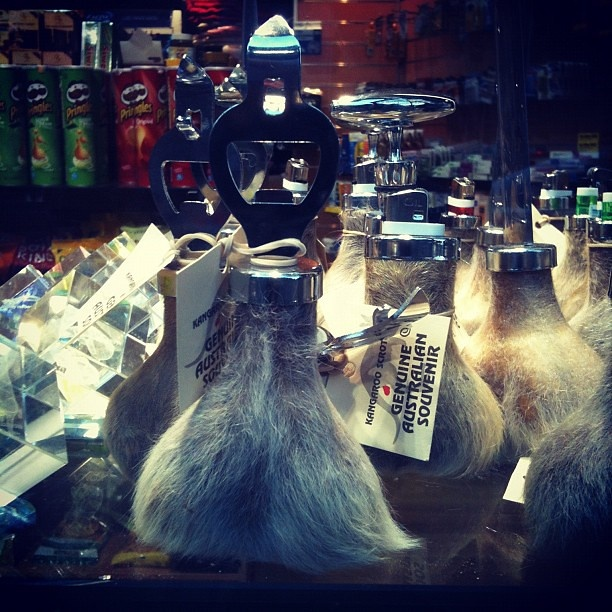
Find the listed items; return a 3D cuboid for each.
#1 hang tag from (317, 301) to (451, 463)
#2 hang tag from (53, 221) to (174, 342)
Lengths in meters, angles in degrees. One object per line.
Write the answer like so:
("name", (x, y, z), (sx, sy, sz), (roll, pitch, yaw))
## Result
("hang tag", (0.068, 0.061, 0.565), (0.123, 0.112, 0.033), (11, -4, 18))
("hang tag", (-0.152, -0.006, 0.622), (0.026, 0.133, 0.071), (31, 25, -45))
